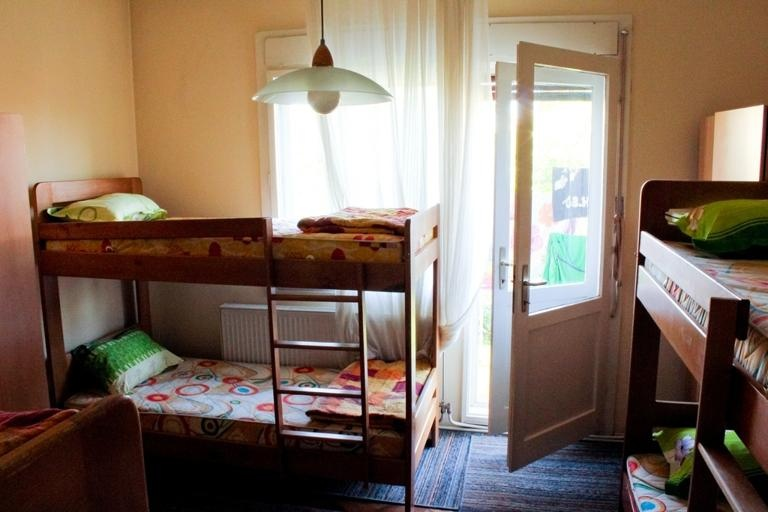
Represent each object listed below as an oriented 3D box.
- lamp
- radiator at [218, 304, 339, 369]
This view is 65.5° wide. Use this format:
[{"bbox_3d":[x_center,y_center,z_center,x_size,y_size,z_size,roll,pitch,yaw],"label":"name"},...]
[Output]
[{"bbox_3d":[-0.350,-1.125,3.312,0.748,0.643,0.633,-7,15,-25],"label":"lamp"},{"bbox_3d":[-0.857,0.639,4.657,0.911,0.467,0.081,3,-32,-7],"label":"radiator"}]
